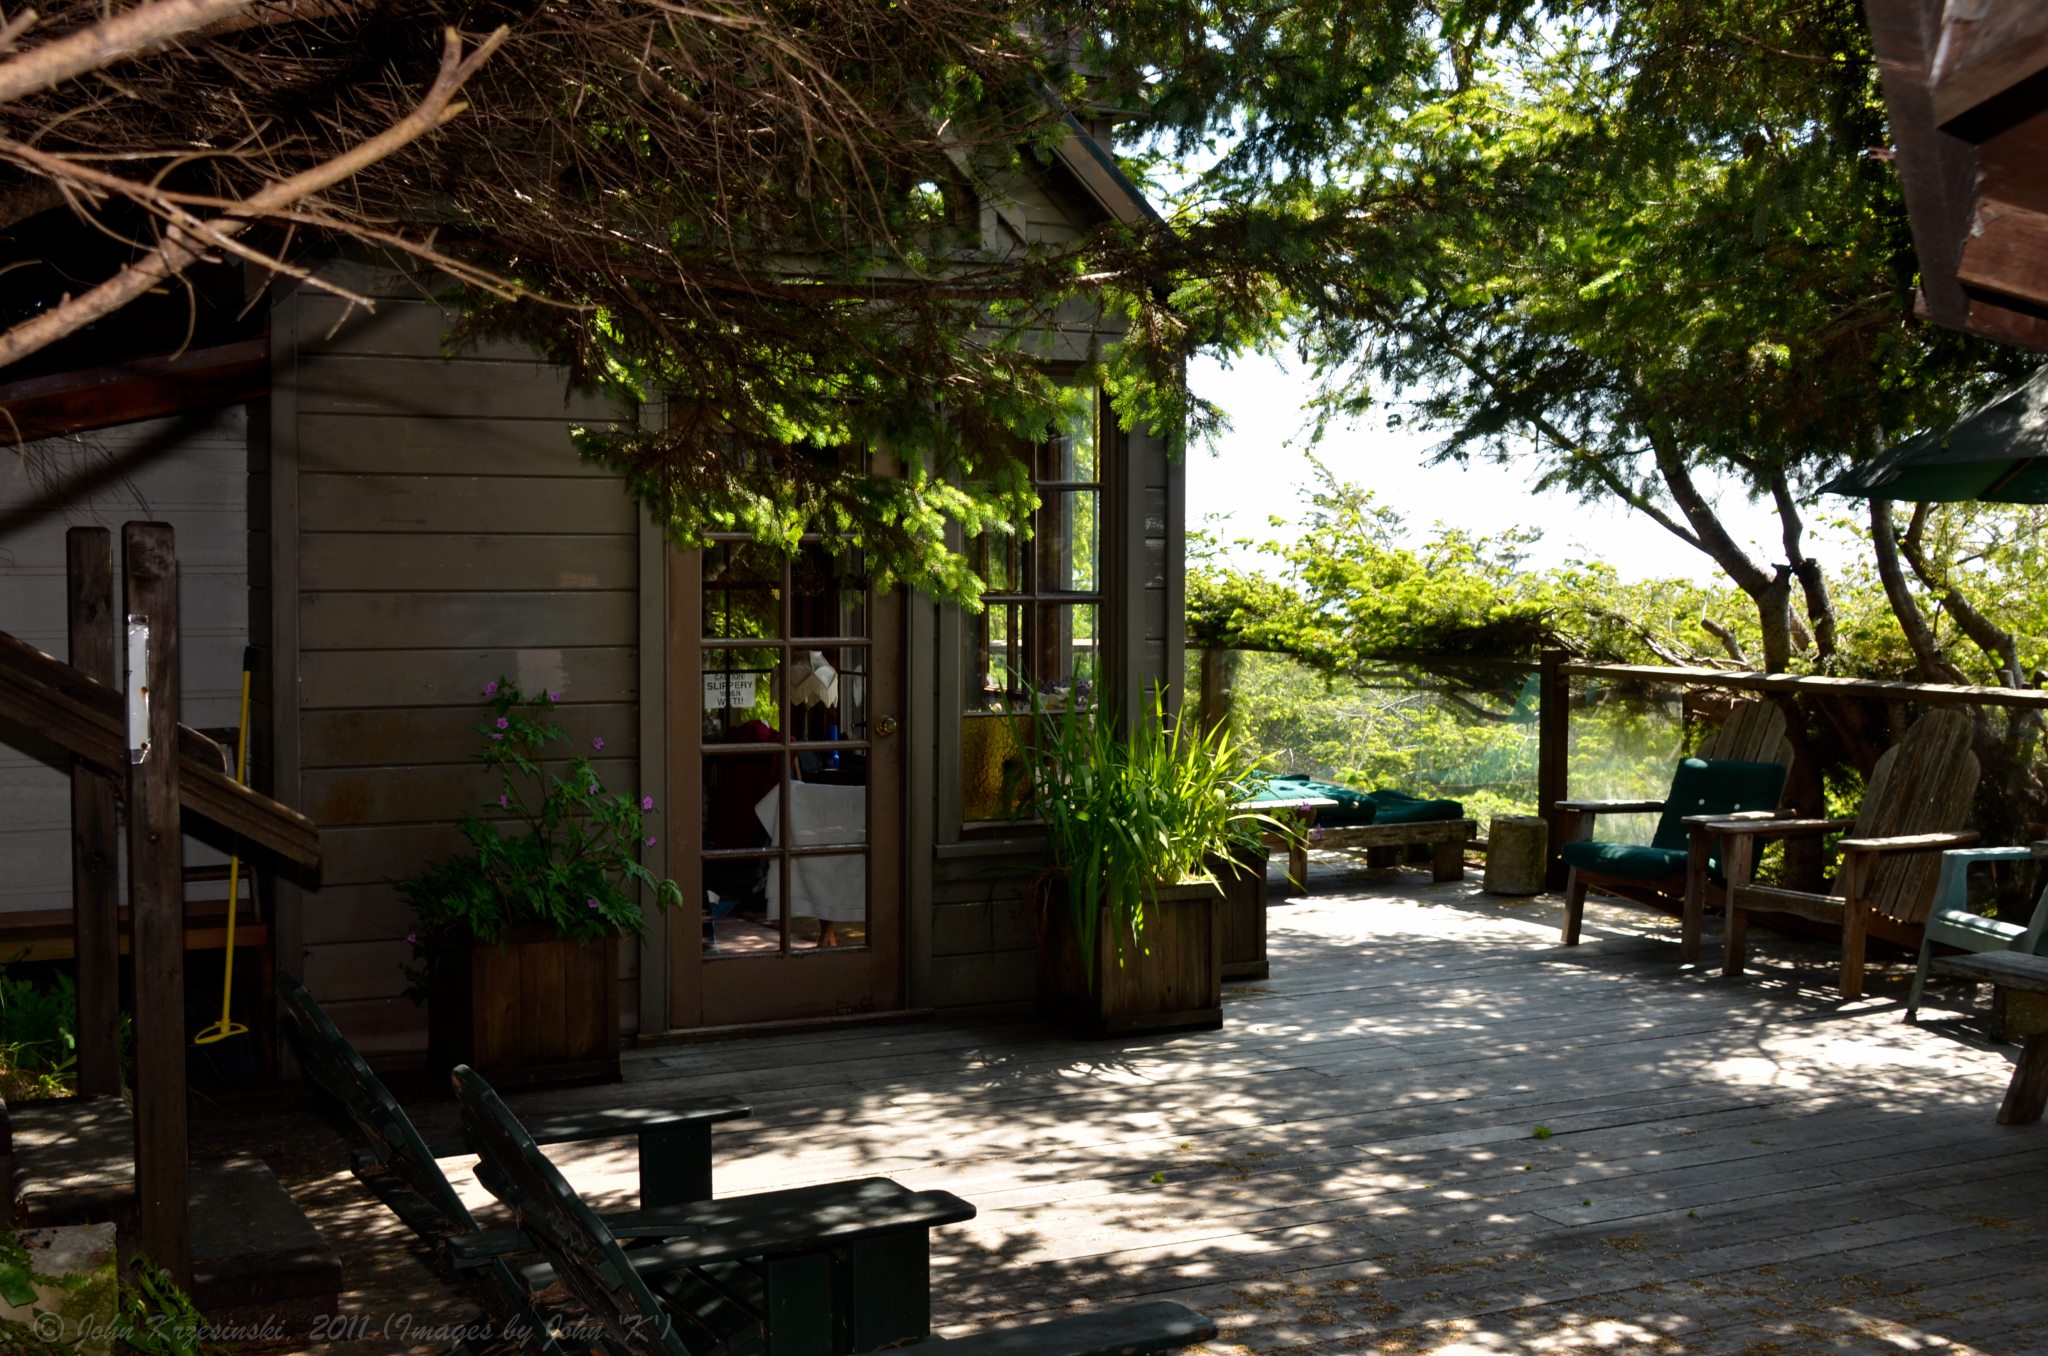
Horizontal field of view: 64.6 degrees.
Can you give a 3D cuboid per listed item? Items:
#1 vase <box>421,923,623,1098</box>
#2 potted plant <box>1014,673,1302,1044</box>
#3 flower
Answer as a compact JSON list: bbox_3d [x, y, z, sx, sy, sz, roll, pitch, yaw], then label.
[{"bbox_3d":[-1.979,1.304,6.595,0.723,0.629,0.679,0,-2,-3],"label":"vase"},{"bbox_3d":[0.347,0.839,7.627,1.456,1.417,1.382,0,0,-21],"label":"potted plant"},{"bbox_3d":[-1.955,0.558,6.842,1.195,1.088,1.079,5,-6,-39],"label":"flower"}]
